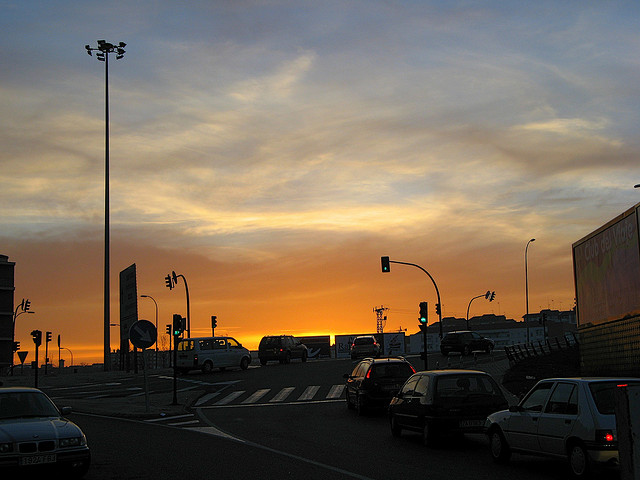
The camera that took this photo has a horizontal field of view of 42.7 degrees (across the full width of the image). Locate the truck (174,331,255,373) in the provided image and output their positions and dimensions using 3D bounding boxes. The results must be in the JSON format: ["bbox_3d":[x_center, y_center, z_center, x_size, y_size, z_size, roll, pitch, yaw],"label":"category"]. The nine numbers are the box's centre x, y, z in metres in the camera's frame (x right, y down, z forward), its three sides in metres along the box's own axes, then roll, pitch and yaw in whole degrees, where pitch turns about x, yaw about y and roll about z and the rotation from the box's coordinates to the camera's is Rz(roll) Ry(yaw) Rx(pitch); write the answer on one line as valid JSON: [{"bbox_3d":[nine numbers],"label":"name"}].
[{"bbox_3d":[-6.637,7.201,50.199,2.762,2.119,5.879,-10,-14,33],"label":"truck"}]

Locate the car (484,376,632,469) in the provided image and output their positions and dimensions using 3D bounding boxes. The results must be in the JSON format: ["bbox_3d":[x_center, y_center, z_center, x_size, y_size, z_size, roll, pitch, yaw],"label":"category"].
[{"bbox_3d":[5.174,3.662,17.374,2.007,1.470,3.161,5,-6,-34],"label":"car"}]

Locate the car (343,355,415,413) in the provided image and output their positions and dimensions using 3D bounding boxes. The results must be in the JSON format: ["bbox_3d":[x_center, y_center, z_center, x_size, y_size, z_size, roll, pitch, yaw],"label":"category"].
[{"bbox_3d":[1.833,4.699,27.385,1.520,1.031,2.184,1,-4,-13],"label":"car"}]

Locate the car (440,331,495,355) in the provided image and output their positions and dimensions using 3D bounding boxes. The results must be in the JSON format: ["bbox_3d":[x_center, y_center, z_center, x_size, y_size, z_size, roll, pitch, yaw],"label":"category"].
[{"bbox_3d":[10.184,7.171,56.680,3.493,1.684,1.389,3,-13,-22],"label":"car"}]

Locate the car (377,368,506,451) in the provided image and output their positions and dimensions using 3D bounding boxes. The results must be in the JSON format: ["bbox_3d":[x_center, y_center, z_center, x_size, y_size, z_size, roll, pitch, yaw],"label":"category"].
[{"bbox_3d":[3.090,4.320,20.843,2.050,1.953,2.725,6,-15,-33],"label":"car"}]

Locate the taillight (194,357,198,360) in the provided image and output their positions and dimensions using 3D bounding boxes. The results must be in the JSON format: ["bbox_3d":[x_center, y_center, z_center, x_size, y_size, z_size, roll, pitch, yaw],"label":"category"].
[{"bbox_3d":[-7.228,6.929,47.434,0.128,0.111,0.123,-1,0,-44],"label":"taillight"}]

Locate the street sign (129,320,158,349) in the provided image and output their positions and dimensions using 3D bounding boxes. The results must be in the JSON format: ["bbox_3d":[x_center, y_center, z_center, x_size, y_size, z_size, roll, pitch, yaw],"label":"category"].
[{"bbox_3d":[-6.016,3.207,27.615,0.879,0.872,0.514,1,-13,-14],"label":"street sign"}]

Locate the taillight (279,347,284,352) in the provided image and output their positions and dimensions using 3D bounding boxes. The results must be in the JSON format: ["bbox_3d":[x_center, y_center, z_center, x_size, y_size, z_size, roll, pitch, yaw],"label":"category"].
[{"bbox_3d":[-2.596,7.378,54.571,0.254,0.288,0.129,-1,-12,-4],"label":"taillight"}]

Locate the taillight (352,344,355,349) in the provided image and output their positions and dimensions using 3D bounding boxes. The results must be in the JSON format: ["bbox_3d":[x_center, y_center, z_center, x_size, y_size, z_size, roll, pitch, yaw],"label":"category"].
[{"bbox_3d":[2.426,7.749,58.951,0.147,0.334,0.280,-3,-12,2],"label":"taillight"}]

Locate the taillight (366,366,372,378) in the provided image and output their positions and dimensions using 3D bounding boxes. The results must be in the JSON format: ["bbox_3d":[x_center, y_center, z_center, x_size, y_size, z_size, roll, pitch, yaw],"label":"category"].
[{"bbox_3d":[1.581,4.354,26.621,0.100,0.303,0.167,8,-16,-40],"label":"taillight"}]

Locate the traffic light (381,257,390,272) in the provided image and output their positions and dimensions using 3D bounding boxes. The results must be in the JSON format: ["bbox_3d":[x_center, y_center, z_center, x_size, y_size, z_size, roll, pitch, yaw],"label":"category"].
[{"bbox_3d":[3.885,1.546,49.242,0.318,0.970,1.092,-5,-13,14],"label":"traffic light"}]

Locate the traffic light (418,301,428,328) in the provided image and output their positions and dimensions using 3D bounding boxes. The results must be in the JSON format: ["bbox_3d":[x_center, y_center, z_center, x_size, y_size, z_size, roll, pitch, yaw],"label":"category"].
[{"bbox_3d":[4.644,3.392,36.708,0.325,0.942,0.776,-4,-12,9],"label":"traffic light"}]

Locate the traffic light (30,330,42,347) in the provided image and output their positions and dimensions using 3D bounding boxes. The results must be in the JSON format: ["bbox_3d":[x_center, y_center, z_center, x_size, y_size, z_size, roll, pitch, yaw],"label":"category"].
[{"bbox_3d":[-15.210,5.296,43.757,0.382,0.953,3.436,2,-13,-20],"label":"traffic light"}]

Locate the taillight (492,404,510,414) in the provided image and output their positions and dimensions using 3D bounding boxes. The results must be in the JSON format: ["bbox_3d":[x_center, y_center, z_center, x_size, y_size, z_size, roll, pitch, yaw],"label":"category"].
[{"bbox_3d":[4.510,4.135,20.056,0.534,0.180,0.352,5,-14,-29],"label":"taillight"}]

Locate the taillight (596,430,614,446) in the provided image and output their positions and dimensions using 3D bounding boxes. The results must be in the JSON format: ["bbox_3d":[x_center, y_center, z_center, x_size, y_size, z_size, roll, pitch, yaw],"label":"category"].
[{"bbox_3d":[5.498,3.826,15.746,0.295,0.195,0.287,-2,-2,3],"label":"taillight"}]
